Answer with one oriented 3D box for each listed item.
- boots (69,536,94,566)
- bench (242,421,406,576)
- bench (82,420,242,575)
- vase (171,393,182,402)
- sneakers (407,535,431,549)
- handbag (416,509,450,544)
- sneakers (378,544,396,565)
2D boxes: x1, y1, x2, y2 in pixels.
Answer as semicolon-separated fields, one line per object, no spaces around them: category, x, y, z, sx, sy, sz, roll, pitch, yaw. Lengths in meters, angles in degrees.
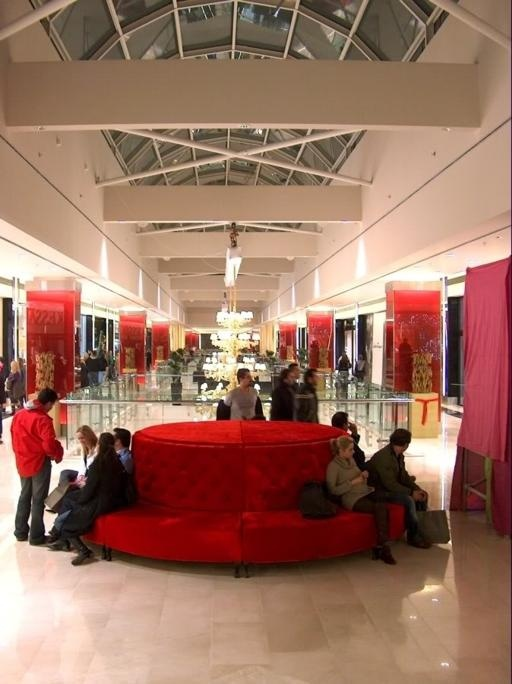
boots;-1.330;1.594;3.682;0.164;0.173;0.225;2;-5;-21
bench;0.334;1.216;3.842;1.268;0.910;1.071;2;-5;-25
bench;-0.548;1.215;3.862;1.290;0.925;0.989;-2;-5;22
vase;-1.308;0.922;7.840;0.123;0.128;0.092;0;5;-2
sneakers;1.328;1.620;3.899;0.069;0.068;0.151;0;-4;-21
handbag;1.425;1.517;3.900;0.248;0.264;0.101;-5;-7;0
sneakers;0.954;1.581;3.560;0.067;0.139;0.195;1;-6;-27
